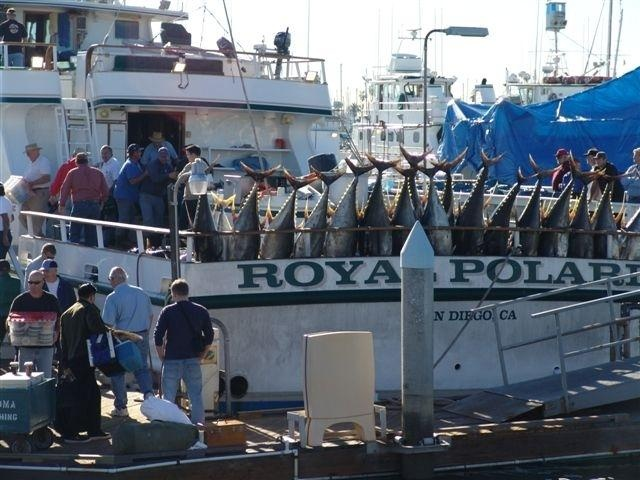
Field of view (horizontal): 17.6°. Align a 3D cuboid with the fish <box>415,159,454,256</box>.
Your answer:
[{"bbox_3d":[1.881,-0.405,33.476,0.372,1.765,0.707,-3,8,9],"label":"fish"}]

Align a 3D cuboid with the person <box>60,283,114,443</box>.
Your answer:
[{"bbox_3d":[-3.707,1.830,31.760,0.766,2.326,0.506,-2,6,-7],"label":"person"}]

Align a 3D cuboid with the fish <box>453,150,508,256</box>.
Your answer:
[{"bbox_3d":[2.481,-0.446,33.581,0.500,2.090,0.838,12,16,-2],"label":"fish"}]

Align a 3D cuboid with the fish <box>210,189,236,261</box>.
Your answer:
[{"bbox_3d":[-1.676,-0.125,33.336,0.411,1.333,0.559,1,18,5],"label":"fish"}]

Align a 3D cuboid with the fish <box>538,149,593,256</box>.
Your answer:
[{"bbox_3d":[4.044,-0.410,33.755,0.548,2.105,0.600,3,7,-1],"label":"fish"}]

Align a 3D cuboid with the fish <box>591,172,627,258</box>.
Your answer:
[{"bbox_3d":[4.651,-0.375,33.720,0.489,1.260,0.350,-3,0,11],"label":"fish"}]

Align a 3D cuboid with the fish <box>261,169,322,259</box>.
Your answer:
[{"bbox_3d":[-0.549,-0.343,33.124,0.735,1.566,0.707,1,6,-15],"label":"fish"}]

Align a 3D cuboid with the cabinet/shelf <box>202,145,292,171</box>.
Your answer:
[{"bbox_3d":[-1.290,-1.542,38.063,1.100,0.640,1.027,7,4,40],"label":"cabinet/shelf"}]

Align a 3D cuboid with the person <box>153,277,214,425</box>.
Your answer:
[{"bbox_3d":[-2.113,1.689,31.771,0.902,2.171,0.291,-1,6,-3],"label":"person"}]

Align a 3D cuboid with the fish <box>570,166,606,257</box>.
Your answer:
[{"bbox_3d":[4.330,-0.438,33.618,0.389,1.315,0.483,-4,9,-26],"label":"fish"}]

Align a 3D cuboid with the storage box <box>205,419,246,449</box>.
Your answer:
[{"bbox_3d":[-1.469,2.927,31.489,0.629,0.340,0.261,-1,6,-1],"label":"storage box"}]
